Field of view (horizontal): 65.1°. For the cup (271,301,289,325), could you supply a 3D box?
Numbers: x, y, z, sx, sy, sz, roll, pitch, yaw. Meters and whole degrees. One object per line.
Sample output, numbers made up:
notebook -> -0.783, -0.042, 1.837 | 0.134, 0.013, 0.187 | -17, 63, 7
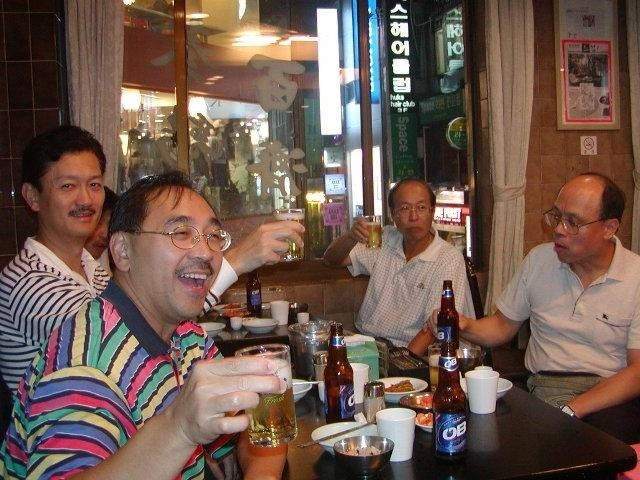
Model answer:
cup -> -0.243, 0.438, 3.059 | 0.117, 0.144, 0.124 | -1, 2, 0

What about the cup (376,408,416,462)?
cup -> 0.223, 0.552, 1.469 | 0.121, 0.126, 0.115 | -2, 12, 0

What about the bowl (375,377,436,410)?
bowl -> 0.316, 0.549, 1.876 | 0.139, 0.041, 0.145 | -1, 4, 0

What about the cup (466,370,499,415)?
cup -> 0.549, 0.498, 1.723 | 0.122, 0.141, 0.122 | -3, 3, 0

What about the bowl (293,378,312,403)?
bowl -> -0.065, 0.555, 1.876 | 0.072, 0.033, 0.075 | -3, 10, 0

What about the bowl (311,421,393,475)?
bowl -> 0.089, 0.583, 1.402 | 0.177, 0.062, 0.104 | -12, 2, 1

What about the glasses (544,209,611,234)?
glasses -> 1.286, -0.088, 2.519 | 0.161, 0.055, 0.163 | -4, 19, -23

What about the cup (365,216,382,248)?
cup -> 0.300, -0.046, 2.786 | 0.081, 0.175, 0.087 | -5, 6, 1
